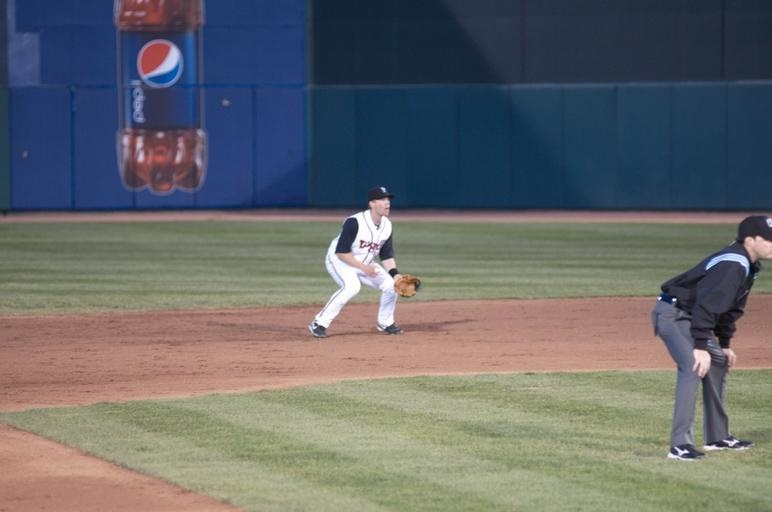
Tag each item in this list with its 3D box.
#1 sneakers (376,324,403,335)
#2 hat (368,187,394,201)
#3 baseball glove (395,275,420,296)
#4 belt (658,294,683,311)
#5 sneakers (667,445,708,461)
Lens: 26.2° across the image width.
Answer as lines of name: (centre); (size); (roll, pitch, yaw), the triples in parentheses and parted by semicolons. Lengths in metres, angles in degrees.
sneakers: (0.116, 1.541, 34.047); (0.546, 0.193, 0.202); (-2, 5, 14)
hat: (-0.245, -1.169, 33.321); (0.625, 0.273, 0.427); (1, 3, 28)
baseball glove: (0.434, 0.639, 33.585); (0.421, 0.427, 0.219); (0, -9, -9)
belt: (5.077, 0.825, 29.558); (0.289, 0.155, 0.217); (32, 18, 7)
sneakers: (5.407, 3.494, 29.528); (0.680, 0.249, 0.247); (-1, 4, 11)
